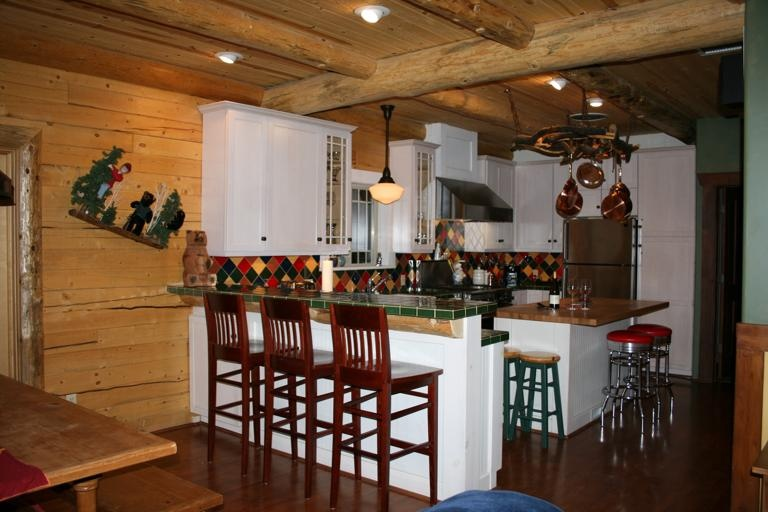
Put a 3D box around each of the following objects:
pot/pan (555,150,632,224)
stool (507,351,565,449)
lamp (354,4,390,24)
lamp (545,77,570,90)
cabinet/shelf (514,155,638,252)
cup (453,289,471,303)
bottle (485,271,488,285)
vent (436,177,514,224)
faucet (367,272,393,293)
[{"bbox_3d":[1.968,-0.587,5.605,0.800,0.696,0.183,1,-2,3],"label":"pot/pan"},{"bbox_3d":[1.436,1.276,5.409,0.528,0.799,0.553,7,11,36],"label":"stool"},{"bbox_3d":[-0.089,-1.807,4.359,0.258,0.109,0.125,1,8,1],"label":"lamp"},{"bbox_3d":[1.648,-1.652,5.519,0.127,0.077,0.162,15,-5,-21],"label":"lamp"},{"bbox_3d":[2.447,-0.622,7.255,1.574,1.241,0.513,0,-2,30],"label":"cabinet/shelf"},{"bbox_3d":[0.840,0.428,6.181,0.144,0.125,0.247,2,-3,7],"label":"cup"},{"bbox_3d":[1.457,0.315,8.130,0.054,0.168,0.169,3,9,10],"label":"bottle"},{"bbox_3d":[1.200,-0.715,7.578,0.603,0.475,1.117,11,9,38],"label":"vent"},{"bbox_3d":[-0.039,0.364,6.848,0.114,0.233,0.410,21,32,1],"label":"faucet"}]
